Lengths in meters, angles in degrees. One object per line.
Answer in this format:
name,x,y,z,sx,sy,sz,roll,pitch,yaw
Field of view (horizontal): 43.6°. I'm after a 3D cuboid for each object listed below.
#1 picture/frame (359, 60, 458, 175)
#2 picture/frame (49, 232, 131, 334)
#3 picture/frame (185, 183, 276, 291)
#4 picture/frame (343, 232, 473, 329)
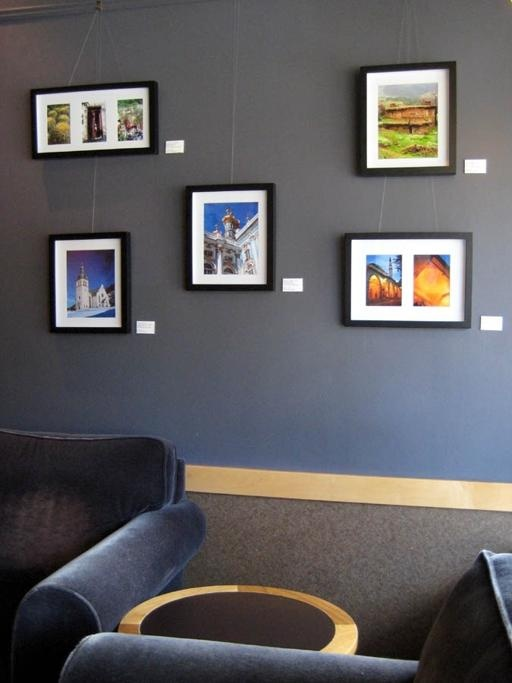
picture/frame,0.651,-0.947,2.663,0.457,0.543,0.039,0,1,9
picture/frame,-0.765,-0.291,2.998,0.450,0.555,0.042,-1,-1,11
picture/frame,-0.099,-0.473,2.839,0.456,0.563,0.042,1,3,14
picture/frame,0.661,-0.269,2.693,0.390,0.316,0.016,0,3,8
